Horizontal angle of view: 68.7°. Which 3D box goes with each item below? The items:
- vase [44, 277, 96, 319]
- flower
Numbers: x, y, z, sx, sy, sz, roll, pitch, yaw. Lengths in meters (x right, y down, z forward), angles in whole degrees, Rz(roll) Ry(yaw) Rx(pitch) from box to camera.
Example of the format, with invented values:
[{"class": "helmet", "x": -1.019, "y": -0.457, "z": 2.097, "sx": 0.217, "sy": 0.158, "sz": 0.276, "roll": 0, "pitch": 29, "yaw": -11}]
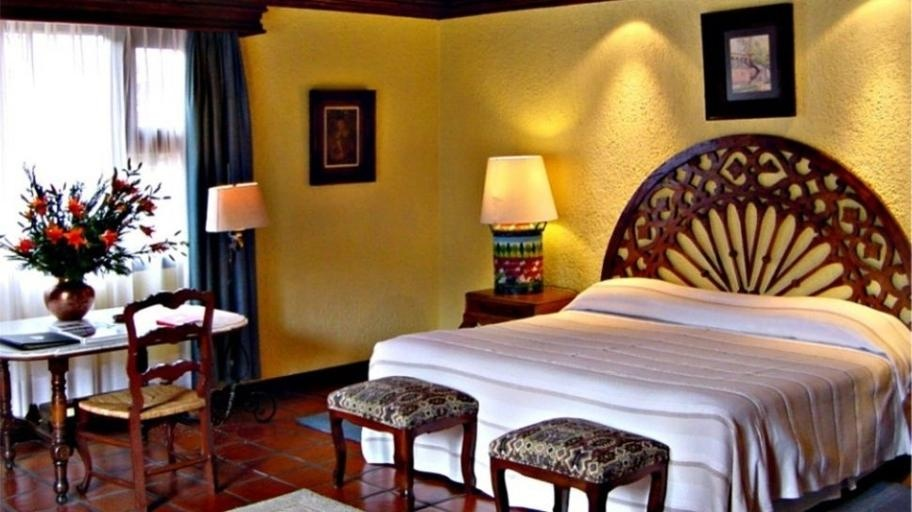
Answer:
[{"class": "vase", "x": -2.906, "y": 0.322, "z": 5.000, "sx": 0.334, "sy": 0.334, "sz": 0.336, "roll": -3, "pitch": 12, "yaw": -31}, {"class": "flower", "x": -2.820, "y": -0.261, "z": 5.296, "sx": 1.389, "sy": 0.787, "sz": 0.929, "roll": 0, "pitch": -1, "yaw": 0}]
